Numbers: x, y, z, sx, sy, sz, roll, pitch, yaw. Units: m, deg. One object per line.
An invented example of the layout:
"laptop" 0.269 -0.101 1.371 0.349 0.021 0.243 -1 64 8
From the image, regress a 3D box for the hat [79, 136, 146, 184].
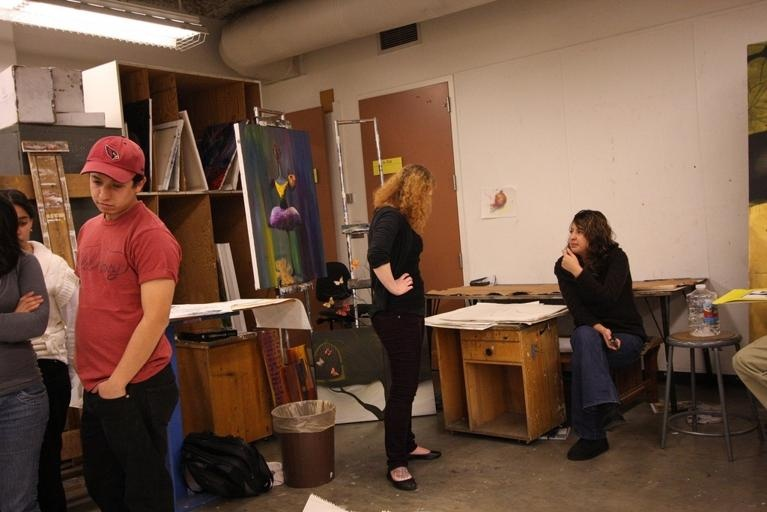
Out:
"hat" -1.305 -0.471 2.841 0.218 0.164 0.290 16 9 1

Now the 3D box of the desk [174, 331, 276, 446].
"desk" -1.128 1.116 4.882 0.559 0.784 0.586 -9 -7 0

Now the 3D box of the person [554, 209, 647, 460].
"person" 1.606 0.543 4.329 0.652 1.660 0.925 0 12 21

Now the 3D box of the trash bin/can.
"trash bin/can" -0.449 1.318 4.223 0.543 0.564 0.538 -3 0 5

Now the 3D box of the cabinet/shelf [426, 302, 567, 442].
"cabinet/shelf" 0.947 0.920 4.683 0.928 0.880 0.728 -7 -4 44

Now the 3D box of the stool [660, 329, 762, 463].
"stool" 2.428 0.880 4.466 0.900 1.047 0.908 -3 3 31

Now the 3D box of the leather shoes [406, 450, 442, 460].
"leather shoes" 0.297 1.457 4.307 0.248 0.035 0.100 -2 -3 15

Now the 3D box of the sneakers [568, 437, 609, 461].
"sneakers" 1.473 1.382 4.166 0.266 0.105 0.135 -2 3 -19

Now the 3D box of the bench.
"bench" 1.935 0.961 4.902 0.751 0.488 0.828 -2 -2 38

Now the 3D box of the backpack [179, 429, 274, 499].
"backpack" -1.076 1.411 3.997 0.508 0.222 0.418 -1 -7 16

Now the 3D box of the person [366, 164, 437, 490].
"person" 0.120 0.479 3.951 0.386 2.131 0.575 -1 12 21
